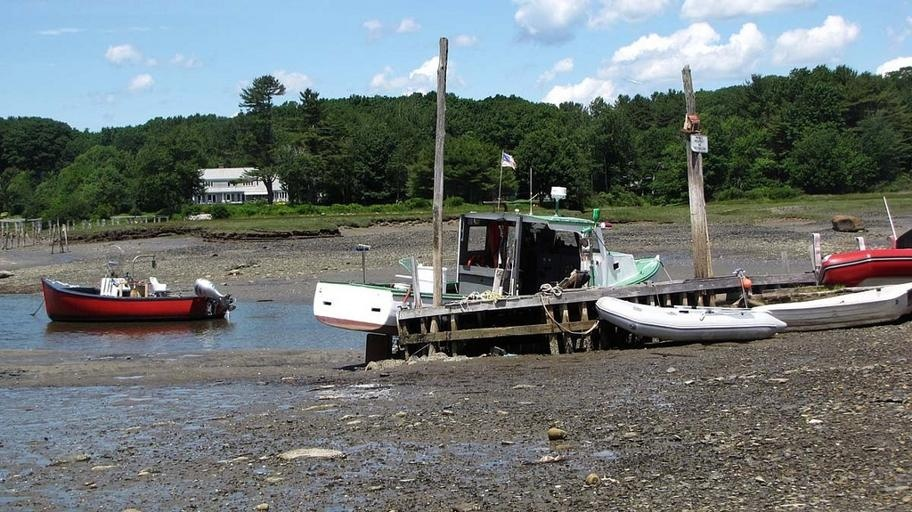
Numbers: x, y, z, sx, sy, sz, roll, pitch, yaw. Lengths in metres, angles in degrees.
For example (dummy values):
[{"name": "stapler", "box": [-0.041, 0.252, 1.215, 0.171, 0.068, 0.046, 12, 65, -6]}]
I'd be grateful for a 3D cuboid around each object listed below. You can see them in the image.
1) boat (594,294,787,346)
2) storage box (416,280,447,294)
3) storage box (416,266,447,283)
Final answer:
[{"name": "boat", "box": [10.224, 2.962, 45.021, 6.117, 1.397, 2.904, 3, -4, 1]}, {"name": "storage box", "box": [-1.220, 1.452, 46.058, 1.110, 0.650, 0.590, 0, -3, 7]}, {"name": "storage box", "box": [-1.223, 0.770, 45.893, 1.011, 0.530, 0.965, -1, -1, 24]}]
